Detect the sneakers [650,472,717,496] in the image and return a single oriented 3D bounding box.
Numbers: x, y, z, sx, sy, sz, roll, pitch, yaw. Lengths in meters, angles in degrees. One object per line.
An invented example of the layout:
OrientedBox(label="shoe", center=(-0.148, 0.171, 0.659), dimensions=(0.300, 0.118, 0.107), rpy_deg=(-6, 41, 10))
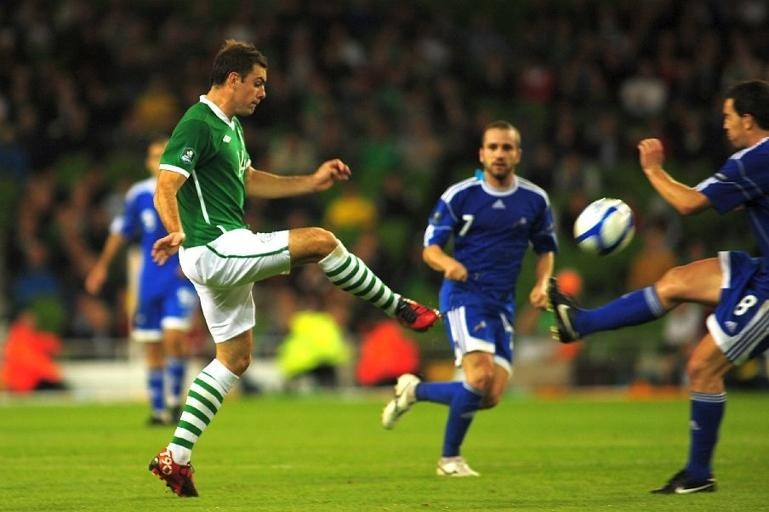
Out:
OrientedBox(label="sneakers", center=(2.883, 2.184, 9.905), dimensions=(0.637, 0.252, 0.231), rpy_deg=(0, -12, -4))

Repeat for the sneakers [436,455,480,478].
OrientedBox(label="sneakers", center=(0.733, 2.136, 10.420), dimensions=(0.487, 0.208, 0.173), rpy_deg=(2, -1, 2))

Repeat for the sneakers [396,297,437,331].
OrientedBox(label="sneakers", center=(0.302, 0.592, 10.272), dimensions=(0.450, 0.254, 0.176), rpy_deg=(23, -4, -1))

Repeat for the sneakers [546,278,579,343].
OrientedBox(label="sneakers", center=(1.749, 0.550, 10.341), dimensions=(0.223, 0.652, 0.259), rpy_deg=(3, -17, -41))
